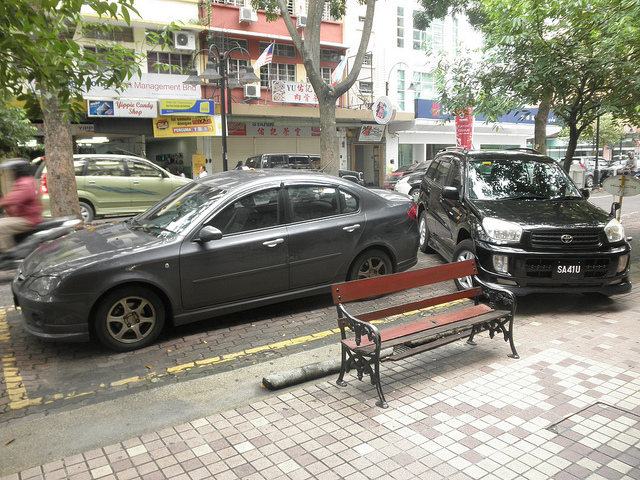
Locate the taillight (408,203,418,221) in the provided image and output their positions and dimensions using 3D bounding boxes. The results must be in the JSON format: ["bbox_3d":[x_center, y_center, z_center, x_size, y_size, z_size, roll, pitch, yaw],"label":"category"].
[{"bbox_3d":[1.528,-0.460,7.373,0.194,0.245,0.121,-25,30,-30],"label":"taillight"}]

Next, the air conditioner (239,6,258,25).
[{"bbox_3d":[-4.172,-12.759,25.173,1.019,0.813,0.754,-7,15,-22],"label":"air conditioner"}]

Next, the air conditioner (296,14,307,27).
[{"bbox_3d":[-1.212,-13.100,26.582,0.486,0.734,0.872,-5,14,-11],"label":"air conditioner"}]

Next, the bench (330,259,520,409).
[{"bbox_3d":[1.284,0.901,4.894,2.479,0.905,0.878,-4,14,-39],"label":"bench"}]

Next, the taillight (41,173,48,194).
[{"bbox_3d":[-7.978,-1.593,12.602,0.159,0.569,0.207,-7,16,-15],"label":"taillight"}]

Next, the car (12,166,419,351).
[{"bbox_3d":[-1.100,0.008,6.710,6.267,1.641,2.494,-4,10,-23],"label":"car"}]

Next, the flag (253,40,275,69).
[{"bbox_3d":[-2.635,-8.330,20.526,0.785,0.975,1.652,-4,13,-7],"label":"flag"}]

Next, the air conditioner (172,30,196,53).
[{"bbox_3d":[-7.321,-10.395,23.267,0.620,0.975,1.490,6,15,28],"label":"air conditioner"}]

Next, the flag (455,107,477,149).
[{"bbox_3d":[8.153,-5.885,24.741,1.240,3.257,1.046,6,-29,8],"label":"flag"}]

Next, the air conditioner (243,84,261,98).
[{"bbox_3d":[-3.879,-8.223,24.631,0.904,0.773,0.839,-4,14,-9],"label":"air conditioner"}]

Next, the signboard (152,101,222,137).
[{"bbox_3d":[-6.888,-6.087,22.326,0.085,1.994,4.087,23,24,24],"label":"signboard"}]
